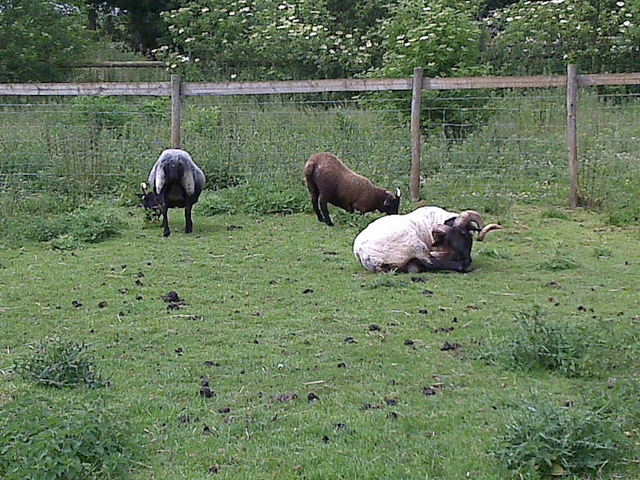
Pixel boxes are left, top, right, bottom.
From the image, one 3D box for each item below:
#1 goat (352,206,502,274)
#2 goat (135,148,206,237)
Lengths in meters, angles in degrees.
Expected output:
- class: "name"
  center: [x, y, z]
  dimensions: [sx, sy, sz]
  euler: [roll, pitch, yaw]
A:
- class: "goat"
  center: [1.679, 0.053, 16.014]
  dimensions: [2.272, 1.115, 1.382]
  euler: [-1, 1, -17]
- class: "goat"
  center: [-2.573, -0.913, 18.275]
  dimensions: [1.023, 1.724, 2.284]
  euler: [1, -10, -9]
